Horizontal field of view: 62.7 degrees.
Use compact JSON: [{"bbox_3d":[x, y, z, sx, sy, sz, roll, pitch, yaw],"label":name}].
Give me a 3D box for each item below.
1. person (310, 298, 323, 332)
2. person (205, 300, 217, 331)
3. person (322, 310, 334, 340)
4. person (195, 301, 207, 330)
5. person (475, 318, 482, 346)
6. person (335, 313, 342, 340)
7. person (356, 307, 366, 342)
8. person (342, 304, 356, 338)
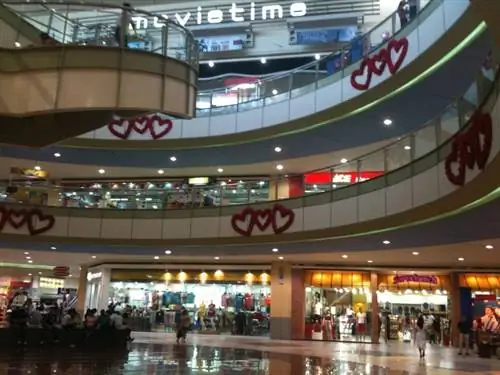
[{"bbox_3d":[4.066,7.618,24.616,0.599,1.869,0.273,0,-18,6],"label":"person"},{"bbox_3d":[-2.477,8.212,26.434,0.637,1.747,0.472,-1,-18,8],"label":"person"},{"bbox_3d":[4.704,8.195,24.551,0.659,1.663,0.300,-1,-18,8],"label":"person"},{"bbox_3d":[-3.134,8.266,26.601,0.575,1.704,0.472,1,-18,4],"label":"person"},{"bbox_3d":[10.544,6.643,18.750,0.362,1.045,0.617,-8,-21,27],"label":"person"},{"bbox_3d":[5.295,8.255,24.512,0.322,1.517,0.210,1,-18,2],"label":"person"},{"bbox_3d":[6.642,8.083,24.269,0.485,1.834,0.265,0,-18,6],"label":"person"},{"bbox_3d":[6.000,7.954,24.446,0.774,1.777,0.261,0,-18,5],"label":"person"}]
